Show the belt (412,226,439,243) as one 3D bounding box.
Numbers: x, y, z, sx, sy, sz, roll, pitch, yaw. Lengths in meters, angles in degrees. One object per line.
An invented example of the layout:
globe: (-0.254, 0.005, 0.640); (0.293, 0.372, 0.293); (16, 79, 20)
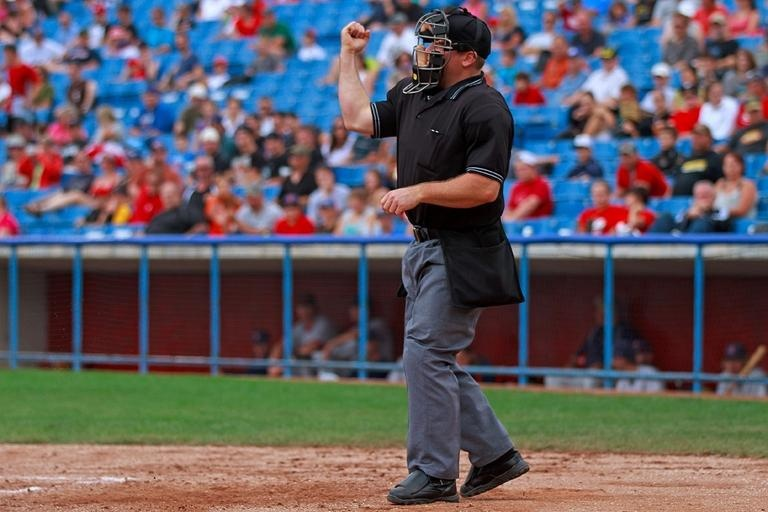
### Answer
belt: (0.361, -0.184, 16.462); (0.177, 0.105, 0.134); (5, 3, 36)

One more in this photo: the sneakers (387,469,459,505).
sneakers: (0.353, 2.079, 16.331); (0.566, 0.236, 0.264); (4, -8, -9)

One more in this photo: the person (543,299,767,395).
person: (2.600, 0.873, 17.682); (2.093, 0.969, 0.257); (-2, -5, 17)
